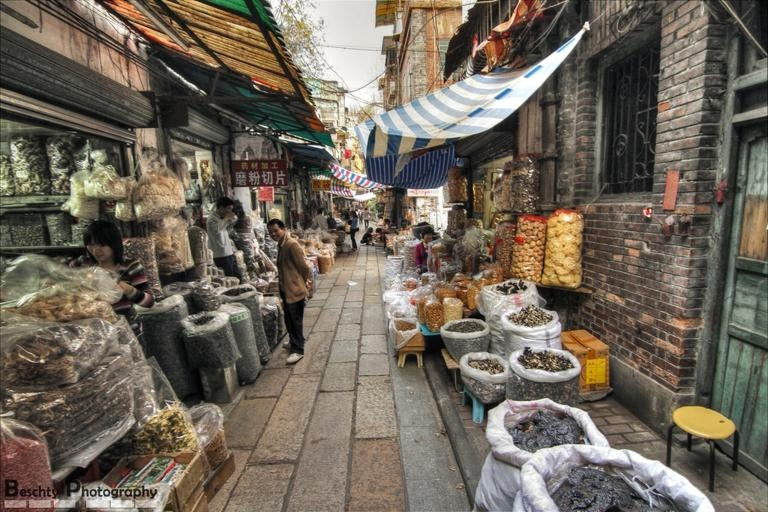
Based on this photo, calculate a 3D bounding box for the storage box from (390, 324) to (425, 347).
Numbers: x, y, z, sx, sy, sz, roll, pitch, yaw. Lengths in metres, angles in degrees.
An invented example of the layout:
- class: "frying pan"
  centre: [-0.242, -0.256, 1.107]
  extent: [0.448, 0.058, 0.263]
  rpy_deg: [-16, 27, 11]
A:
- class: "storage box"
  centre: [0.301, 1.139, 6.959]
  extent: [0.468, 0.231, 0.299]
  rpy_deg: [0, 12, 2]

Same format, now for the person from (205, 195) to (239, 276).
- class: "person"
  centre: [-2.771, -0.273, 8.535]
  extent: [0.492, 1.446, 0.577]
  rpy_deg: [-6, 9, -16]

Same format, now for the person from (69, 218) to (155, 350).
- class: "person"
  centre: [-2.917, 0.364, 5.361]
  extent: [0.750, 1.492, 0.580]
  rpy_deg: [-2, 8, 13]

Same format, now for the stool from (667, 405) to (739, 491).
- class: "stool"
  centre: [2.957, 1.918, 4.798]
  extent: [0.674, 0.520, 0.621]
  rpy_deg: [10, -1, -15]

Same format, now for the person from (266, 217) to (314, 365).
- class: "person"
  centre: [-1.314, 0.497, 7.026]
  extent: [0.489, 2.027, 0.402]
  rpy_deg: [-10, 10, -33]

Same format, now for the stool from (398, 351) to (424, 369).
- class: "stool"
  centre: [0.357, 1.460, 6.980]
  extent: [0.297, 0.178, 0.266]
  rpy_deg: [0, -2, -1]

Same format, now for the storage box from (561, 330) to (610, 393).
- class: "storage box"
  centre: [2.302, 1.245, 5.655]
  extent: [0.425, 0.466, 0.684]
  rpy_deg: [-4, 14, 1]

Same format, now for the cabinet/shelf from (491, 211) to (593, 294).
- class: "cabinet/shelf"
  centre: [1.966, -0.136, 6.628]
  extent: [1.146, 0.872, 0.530]
  rpy_deg: [2, 12, 9]

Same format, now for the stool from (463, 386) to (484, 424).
- class: "stool"
  centre: [1.028, 1.689, 5.691]
  extent: [0.168, 0.381, 0.390]
  rpy_deg: [-6, 8, -13]
